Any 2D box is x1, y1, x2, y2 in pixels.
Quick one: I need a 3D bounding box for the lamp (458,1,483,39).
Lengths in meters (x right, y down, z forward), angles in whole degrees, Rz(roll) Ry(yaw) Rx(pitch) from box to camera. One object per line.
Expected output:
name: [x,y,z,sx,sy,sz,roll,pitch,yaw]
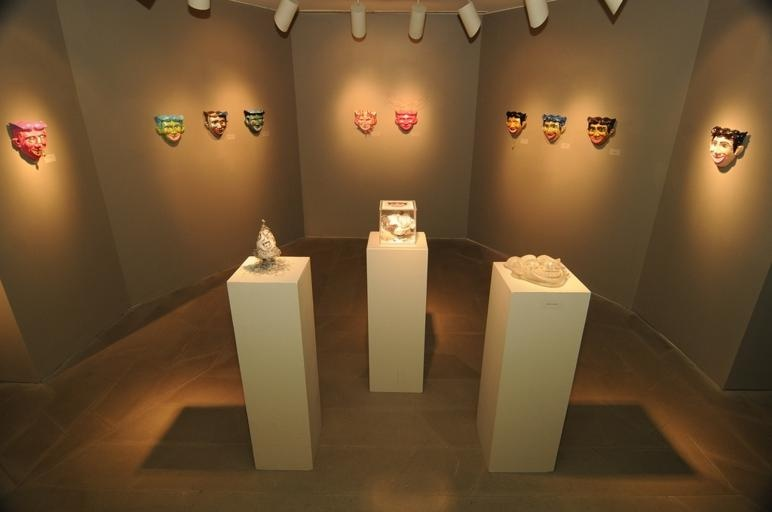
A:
lamp: [1.127,-3.218,7.188,0.219,0.404,0.276,-20,45,19]
